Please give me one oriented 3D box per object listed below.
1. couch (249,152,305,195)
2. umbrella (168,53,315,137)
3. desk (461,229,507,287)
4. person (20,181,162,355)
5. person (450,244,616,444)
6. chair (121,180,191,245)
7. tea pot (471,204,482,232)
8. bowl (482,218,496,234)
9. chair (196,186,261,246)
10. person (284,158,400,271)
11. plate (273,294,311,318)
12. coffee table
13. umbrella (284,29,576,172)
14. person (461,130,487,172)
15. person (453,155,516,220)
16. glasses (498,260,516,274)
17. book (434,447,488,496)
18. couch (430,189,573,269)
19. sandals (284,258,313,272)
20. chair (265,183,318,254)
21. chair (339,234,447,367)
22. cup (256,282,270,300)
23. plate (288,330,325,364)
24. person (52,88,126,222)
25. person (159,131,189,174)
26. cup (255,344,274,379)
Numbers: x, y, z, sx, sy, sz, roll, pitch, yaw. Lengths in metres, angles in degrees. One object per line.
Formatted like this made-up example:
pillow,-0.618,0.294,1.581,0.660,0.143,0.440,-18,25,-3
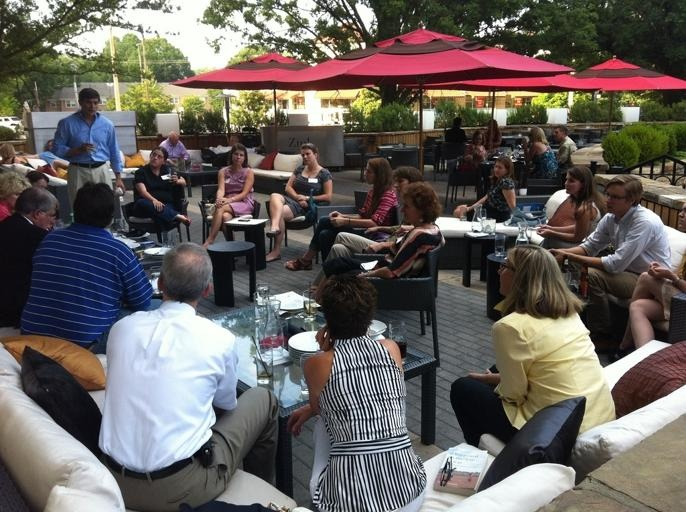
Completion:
couch,-1.787,-2.086,12.960,1.693,0.752,0.762,5,31,10
umbrella,-2.146,-3.860,12.181,1.961,1.415,1.988,13,19,41
desk,1.599,0.054,6.301,0.388,0.446,0.387,25,3,-39
person,-1.806,0.104,3.698,0.799,1.184,0.720,16,15,15
person,1.020,0.682,3.026,0.573,1.397,0.971,-6,9,-33
chair,-2.667,-0.566,7.411,0.765,1.026,0.890,4,10,0
tea pot,1.623,-0.433,6.298,0.130,0.269,0.232,3,12,14
bowl,1.715,-0.353,6.156,0.156,0.180,0.155,1,4,0
chair,-1.782,-0.580,8.032,0.840,1.222,0.860,-3,14,-22
person,0.025,-0.477,6.352,1.281,1.495,0.813,6,10,-12
plate,-0.412,0.373,4.173,0.176,0.029,0.197,-9,18,-34
coffee table,-0.142,0.491,3.349,0.967,0.695,1.457,-12,19,-37
umbrella,1.284,-2.500,8.242,2.797,2.001,2.882,-3,28,1
person,2.880,-2.226,11.249,0.460,0.846,0.516,2,21,0
person,1.956,-0.980,7.297,0.961,1.169,0.772,1,18,5
glasses,1.047,0.070,3.345,0.112,0.036,0.114,3,8,0
book,0.565,1.057,2.538,0.202,0.085,0.358,-4,9,24
couch,2.107,-0.345,7.099,1.522,1.091,1.047,3,15,7
sandals,-0.593,0.116,7.064,0.293,0.134,0.167,2,6,-11
chair,-0.683,-0.508,7.750,0.647,0.827,0.538,-6,10,-6
chair,0.437,0.325,4.628,0.809,1.076,0.969,0,5,1
cup,-0.595,0.261,3.891,0.093,0.110,0.093,3,12,-1
plate,-0.234,0.579,3.464,0.216,0.099,0.220,-5,14,-24
person,-3.398,-1.116,7.061,0.708,2.125,0.848,27,28,37
person,-4.090,-2.452,12.567,0.766,1.038,0.593,-21,44,-39
cup,-0.508,0.685,3.350,0.143,0.256,0.155,0,12,0
